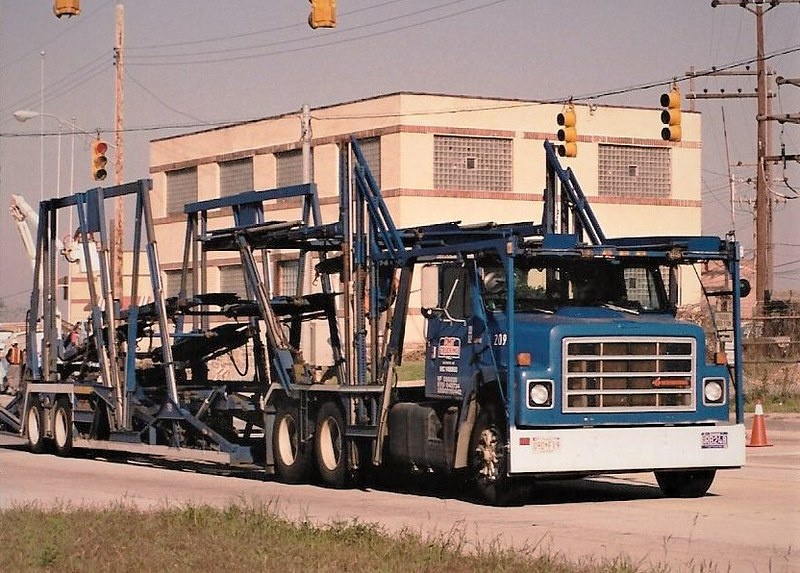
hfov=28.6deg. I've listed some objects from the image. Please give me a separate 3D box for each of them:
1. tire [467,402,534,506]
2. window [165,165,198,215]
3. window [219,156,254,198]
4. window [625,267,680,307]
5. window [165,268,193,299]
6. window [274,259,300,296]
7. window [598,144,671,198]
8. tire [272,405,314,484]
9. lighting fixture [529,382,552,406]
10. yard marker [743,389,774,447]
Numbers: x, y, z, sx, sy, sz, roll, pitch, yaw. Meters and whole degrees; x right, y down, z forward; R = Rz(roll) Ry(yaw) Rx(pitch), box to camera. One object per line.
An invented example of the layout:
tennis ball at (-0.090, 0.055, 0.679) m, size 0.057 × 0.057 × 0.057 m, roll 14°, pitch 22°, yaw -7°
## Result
tire at (1.593, 2.599, 24.685) m, size 0.451 × 1.332 × 1.387 m, roll 0°, pitch 10°, yaw -19°
window at (-9.990, -4.047, 72.397) m, size 0.205 × 2.848 × 2.633 m, roll 2°, pitch 5°, yaw 26°
window at (-7.193, -4.582, 68.975) m, size 0.088 × 1.990 × 2.596 m, roll 2°, pitch 9°, yaw 29°
window at (4.181, 0.044, 26.035) m, size 1.039 × 0.742 × 0.252 m, roll 1°, pitch -5°, yaw -26°
window at (-7.953, -0.076, 56.252) m, size 1.095 × 1.229 × 0.789 m, roll -2°, pitch -1°, yaw 19°
window at (-4.367, -0.385, 60.589) m, size 0.145 × 1.673 × 1.302 m, roll -1°, pitch 3°, yaw -35°
window at (9.626, -4.754, 65.102) m, size 2.159 × 2.726 × 0.608 m, roll -1°, pitch 9°, yaw -14°
tire at (-1.885, 2.867, 27.998) m, size 0.374 × 1.461 × 1.199 m, roll 3°, pitch -5°, yaw -26°
lighting fixture at (2.157, 1.688, 24.377) m, size 0.317 × 0.367 × 0.109 m, roll 1°, pitch -3°, yaw -16°
yard marker at (8.318, 3.121, 36.517) m, size 0.879 × 1.343 × 0.897 m, roll 2°, pitch -6°, yaw -38°
